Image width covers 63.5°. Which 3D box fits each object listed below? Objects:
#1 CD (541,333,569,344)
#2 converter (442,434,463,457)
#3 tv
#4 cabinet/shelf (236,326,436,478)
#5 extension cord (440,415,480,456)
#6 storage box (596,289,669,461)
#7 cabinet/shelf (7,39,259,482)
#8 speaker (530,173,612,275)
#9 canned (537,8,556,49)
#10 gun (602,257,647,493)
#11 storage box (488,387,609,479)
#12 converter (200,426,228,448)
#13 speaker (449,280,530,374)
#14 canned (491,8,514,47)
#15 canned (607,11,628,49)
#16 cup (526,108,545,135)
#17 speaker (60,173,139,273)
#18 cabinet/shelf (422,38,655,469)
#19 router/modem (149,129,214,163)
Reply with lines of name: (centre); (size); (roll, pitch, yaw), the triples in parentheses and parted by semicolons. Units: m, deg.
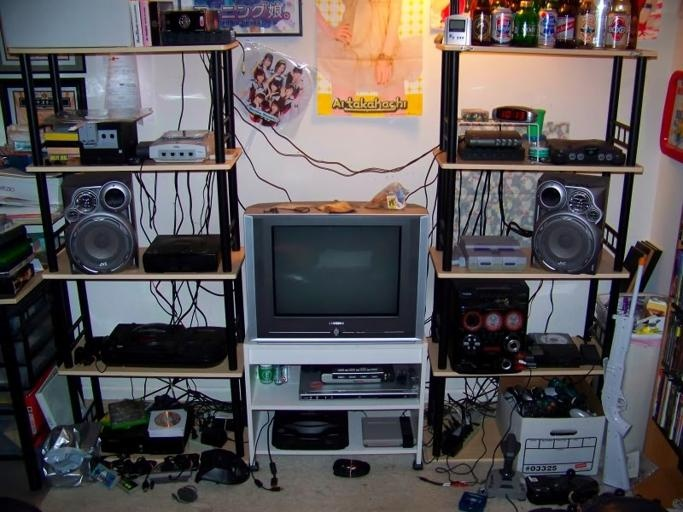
CD: (1.264, 0.493, 3.268); (0.083, 0.018, 0.076); (2, 15, 7)
converter: (0.655, 1.128, 3.264); (0.116, 0.106, 0.063); (7, 4, -20)
tv: (-0.037, 0.119, 2.994); (1.001, 0.730, 0.103); (-2, 18, 0)
cabinet/shelf: (-0.053, 0.720, 3.464); (1.057, 0.757, 0.728); (0, 17, -2)
extension cord: (0.699, 1.076, 3.288); (0.046, 0.173, 0.197); (3, -15, 42)
storage box: (1.624, 0.706, 3.255); (0.334, 0.953, 0.319); (-5, 20, -14)
cabinet/shelf: (-1.029, 0.016, 3.127); (1.060, 2.265, 0.614); (-3, 18, -2)
speaker: (1.171, -0.159, 2.861); (0.330, 0.497, 0.112); (4, 19, 18)
canned: (0.998, -1.099, 2.664); (0.108, 0.179, 0.085); (-2, 18, 1)
gun: (1.419, 0.653, 2.980); (0.210, 1.215, 0.265); (3, 17, 10)
storage box: (1.227, 1.045, 3.325); (0.529, 0.416, 0.462); (0, 11, 0)
converter: (-0.757, 1.083, 3.293); (0.141, 0.116, 0.113); (2, 1, 10)
speaker: (0.810, 0.383, 3.162); (0.416, 0.521, 0.359); (0, 17, 0)
canned: (0.767, -1.096, 2.639); (0.100, 0.165, 0.052); (0, 19, 5)
canned: (1.358, -1.096, 2.685); (0.142, 0.169, 0.062); (-10, 20, -24)
cup: (1.016, -0.693, 2.902); (0.076, 0.150, 0.199); (4, 19, 17)
speaker: (-1.253, -0.168, 2.977); (0.325, 0.532, 0.298); (-2, 20, -7)
cabinet/shelf: (0.974, -0.166, 3.249); (0.977, 2.614, 0.684); (0, 18, 4)
router/modem: (-0.842, -0.576, 2.906); (0.316, 0.144, 0.229); (0, 18, 4)
